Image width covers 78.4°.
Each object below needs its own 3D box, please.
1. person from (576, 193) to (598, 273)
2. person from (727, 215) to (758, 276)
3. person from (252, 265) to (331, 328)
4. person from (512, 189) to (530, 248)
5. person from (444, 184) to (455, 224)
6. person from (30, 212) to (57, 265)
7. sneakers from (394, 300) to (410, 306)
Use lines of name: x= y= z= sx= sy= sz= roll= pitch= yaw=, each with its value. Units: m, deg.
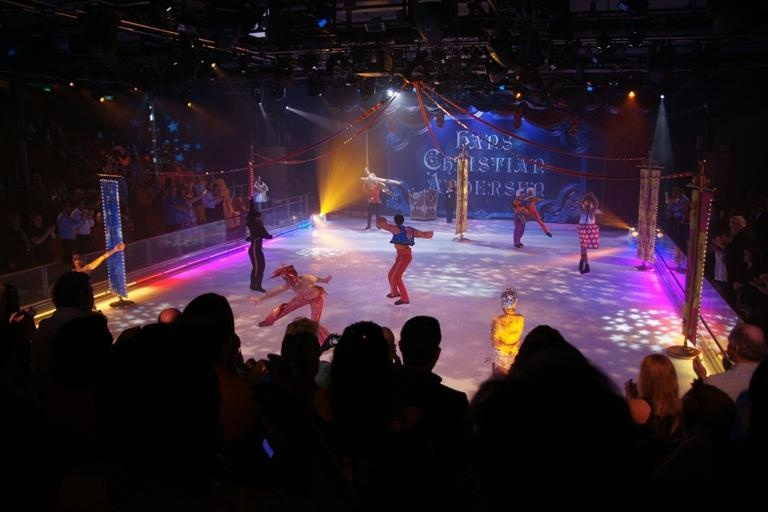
person: x=5.485 y=-0.614 z=12.726 sx=0.515 sy=2.078 sz=0.694 roll=5 pitch=15 yaw=22
person: x=7.024 y=-0.256 z=9.189 sx=0.539 sy=1.554 sz=0.481 roll=4 pitch=-14 yaw=37
person: x=-1.588 y=0.821 z=8.388 sx=1.350 sy=1.531 sz=0.757 roll=0 pitch=24 yaw=-9
person: x=4.594 y=-1.220 z=15.875 sx=0.484 sy=1.869 sz=0.562 roll=3 pitch=14 yaw=11
person: x=3.019 y=-2.452 z=21.512 sx=0.430 sy=1.837 sz=1.066 roll=2 pitch=14 yaw=9
person: x=-9.221 y=-0.550 z=12.765 sx=0.593 sy=1.412 sz=1.780 roll=-10 pitch=16 yaw=-34
sneakers: x=0.390 y=0.998 z=10.286 sx=0.337 sy=0.141 sz=0.113 roll=6 pitch=3 yaw=4
